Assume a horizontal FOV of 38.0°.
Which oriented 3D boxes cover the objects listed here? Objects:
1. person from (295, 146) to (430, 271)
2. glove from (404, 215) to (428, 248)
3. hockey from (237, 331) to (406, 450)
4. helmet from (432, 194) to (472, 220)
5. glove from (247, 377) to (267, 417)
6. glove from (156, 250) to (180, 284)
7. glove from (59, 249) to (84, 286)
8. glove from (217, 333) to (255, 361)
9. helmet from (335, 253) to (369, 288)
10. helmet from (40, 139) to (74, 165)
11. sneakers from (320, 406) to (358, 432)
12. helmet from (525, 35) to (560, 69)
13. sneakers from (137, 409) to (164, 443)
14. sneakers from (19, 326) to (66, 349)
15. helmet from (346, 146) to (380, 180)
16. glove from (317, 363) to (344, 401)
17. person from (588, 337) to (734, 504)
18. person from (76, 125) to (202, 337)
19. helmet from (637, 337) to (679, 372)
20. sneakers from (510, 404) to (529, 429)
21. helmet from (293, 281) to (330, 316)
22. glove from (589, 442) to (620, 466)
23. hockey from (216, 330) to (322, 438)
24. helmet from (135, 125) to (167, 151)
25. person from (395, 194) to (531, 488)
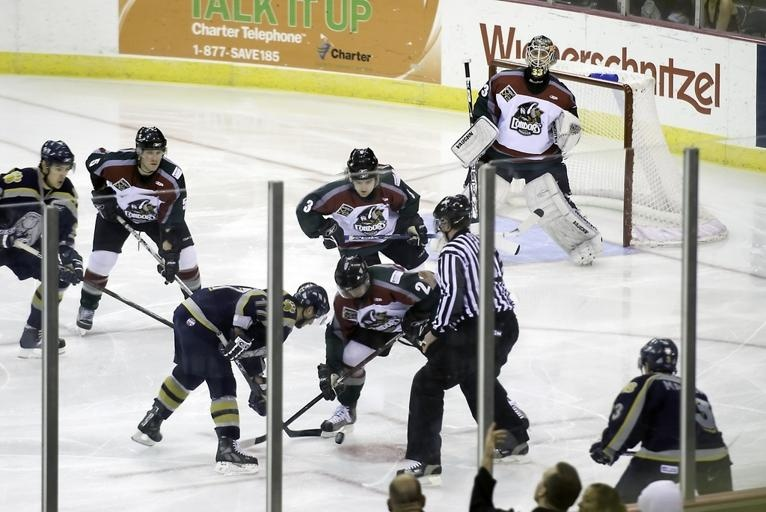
[{"bbox_3d":[-0.083,-0.093,5.323,0.612,0.749,0.433,-10,10,-3],"label":"person"},{"bbox_3d":[0.156,-0.106,5.128,0.060,0.094,0.140,-4,-24,-14],"label":"glove"},{"bbox_3d":[-0.238,0.637,4.999,0.917,0.321,0.043,-37,-18,-12],"label":"hockey"},{"bbox_3d":[0.321,-0.223,5.054,0.152,0.125,0.110,10,9,25],"label":"helmet"},{"bbox_3d":[-0.537,0.627,4.976,0.070,0.167,0.138,1,-23,-35],"label":"glove"},{"bbox_3d":[-0.943,0.038,4.879,0.104,0.117,0.050,-5,-6,11],"label":"glove"},{"bbox_3d":[-1.282,0.038,4.568,0.055,0.162,0.116,6,8,38],"label":"glove"},{"bbox_3d":[-0.671,0.417,5.087,0.136,0.098,0.051,-30,-17,2],"label":"glove"},{"bbox_3d":[-0.141,0.079,5.017,0.137,0.147,0.145,-3,-35,9],"label":"helmet"},{"bbox_3d":[-1.755,-0.560,5.981,0.192,0.162,0.137,5,13,30],"label":"helmet"},{"bbox_3d":[-0.190,0.724,4.957,0.207,0.083,0.073,-14,28,-38],"label":"sneakers"},{"bbox_3d":[1.082,-1.389,7.549,0.202,0.197,0.248,11,20,20],"label":"helmet"},{"bbox_3d":[-1.006,0.723,4.759,0.070,0.147,0.090,36,-9,29],"label":"sneakers"},{"bbox_3d":[-1.395,0.339,4.597,0.170,0.100,0.139,6,8,42],"label":"sneakers"},{"bbox_3d":[-0.132,-0.491,6.311,0.238,0.240,0.273,1,5,-2],"label":"helmet"},{"bbox_3d":[-0.250,0.575,5.132,0.049,0.141,0.145,-38,60,-24],"label":"glove"},{"bbox_3d":[1.257,0.742,4.998,0.624,0.733,0.204,2,7,13],"label":"person"},{"bbox_3d":[-1.067,-0.125,5.088,0.668,0.861,0.581,6,9,3],"label":"person"},{"bbox_3d":[1.275,0.469,5.084,0.175,0.182,0.194,3,-16,-4],"label":"helmet"},{"bbox_3d":[0.615,0.706,4.955,0.041,0.109,0.083,-38,17,-19],"label":"sneakers"},{"bbox_3d":[-0.319,0.183,5.023,0.173,0.144,0.124,0,40,-37],"label":"helmet"},{"bbox_3d":[0.993,0.875,4.990,0.114,0.049,0.115,28,32,24],"label":"glove"},{"bbox_3d":[-0.475,0.651,4.984,0.405,0.337,0.283,0,6,-4],"label":"hockey"},{"bbox_3d":[-1.339,-0.665,6.300,0.173,0.132,0.130,-7,2,7],"label":"helmet"},{"bbox_3d":[0.384,0.351,4.954,0.554,1.225,0.381,2,7,13],"label":"person"}]
